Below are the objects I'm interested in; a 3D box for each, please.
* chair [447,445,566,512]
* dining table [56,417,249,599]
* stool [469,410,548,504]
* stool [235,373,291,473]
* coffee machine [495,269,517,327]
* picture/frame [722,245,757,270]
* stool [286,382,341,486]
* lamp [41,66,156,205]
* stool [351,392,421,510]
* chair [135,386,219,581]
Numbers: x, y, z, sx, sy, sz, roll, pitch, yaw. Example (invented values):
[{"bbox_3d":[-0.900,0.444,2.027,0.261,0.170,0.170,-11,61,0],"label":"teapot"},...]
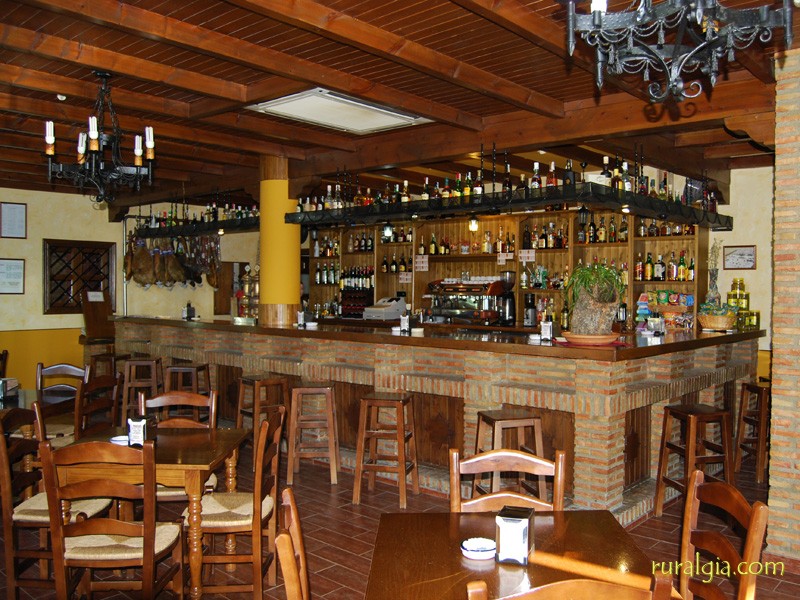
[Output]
[{"bbox_3d":[0.626,1.107,3.934,0.480,0.453,0.818,-3,-15,17],"label":"chair"},{"bbox_3d":[-1.580,1.248,4.680,0.933,0.852,1.156,0,0,1],"label":"dining table"},{"bbox_3d":[0.843,1.320,5.633,0.778,0.811,0.778,1,-13,14],"label":"stool"},{"bbox_3d":[-1.466,1.173,7.205,0.586,0.729,0.572,6,-5,-38],"label":"stool"},{"bbox_3d":[1.449,-0.001,9.408,0.229,0.704,0.341,-1,3,8],"label":"coffee machine"},{"bbox_3d":[4.835,-0.590,9.924,0.361,0.330,0.028,-2,-1,30],"label":"picture/frame"},{"bbox_3d":[-0.845,1.284,6.860,0.669,0.863,0.681,-2,-3,27],"label":"stool"},{"bbox_3d":[-2.678,-1.472,6.345,0.923,1.116,0.907,2,19,-12],"label":"lamp"},{"bbox_3d":[-0.146,1.319,6.562,0.612,0.957,1.050,-2,3,0],"label":"stool"},{"bbox_3d":[-1.634,1.158,5.005,0.711,0.948,0.708,-2,6,-22],"label":"chair"}]
